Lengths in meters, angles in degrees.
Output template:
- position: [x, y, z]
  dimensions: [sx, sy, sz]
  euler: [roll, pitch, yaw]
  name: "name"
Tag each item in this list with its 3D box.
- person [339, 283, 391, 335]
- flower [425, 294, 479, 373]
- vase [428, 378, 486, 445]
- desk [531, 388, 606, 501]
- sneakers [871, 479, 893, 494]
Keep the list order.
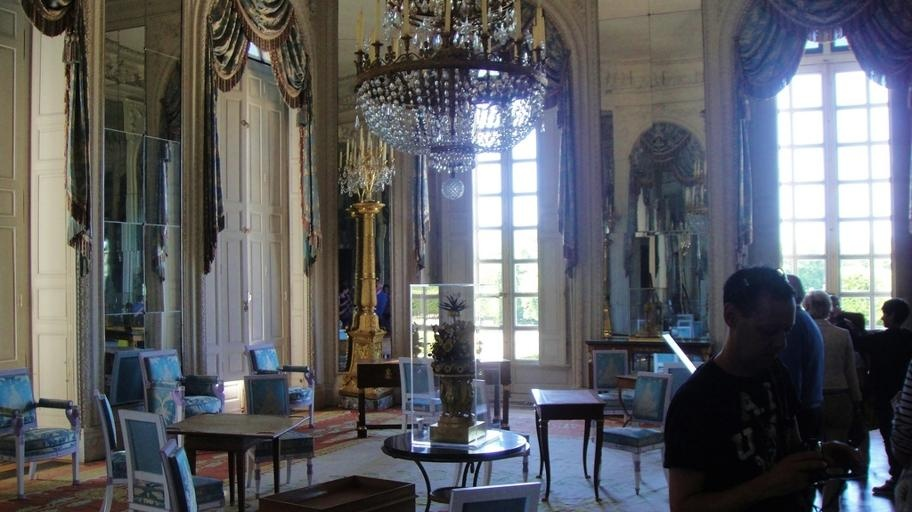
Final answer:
- position: [-1.697, 0.976, 14.171]
  dimensions: [0.850, 1.002, 0.922]
  euler: [0, -5, -3]
  name: "person"
- position: [-0.037, 0.874, 8.750]
  dimensions: [0.543, 0.819, 0.515]
  euler: [-3, 9, -44]
  name: "flower"
- position: [0.047, 1.715, 8.811]
  dimensions: [0.711, 0.955, 0.698]
  euler: [0, 1, 10]
  name: "vase"
- position: [1.502, 2.585, 10.459]
  dimensions: [0.897, 1.108, 1.549]
  euler: [0, -9, 1]
  name: "desk"
- position: [5.465, 2.942, 9.771]
  dimensions: [0.345, 0.141, 0.114]
  euler: [1, -7, 0]
  name: "sneakers"
